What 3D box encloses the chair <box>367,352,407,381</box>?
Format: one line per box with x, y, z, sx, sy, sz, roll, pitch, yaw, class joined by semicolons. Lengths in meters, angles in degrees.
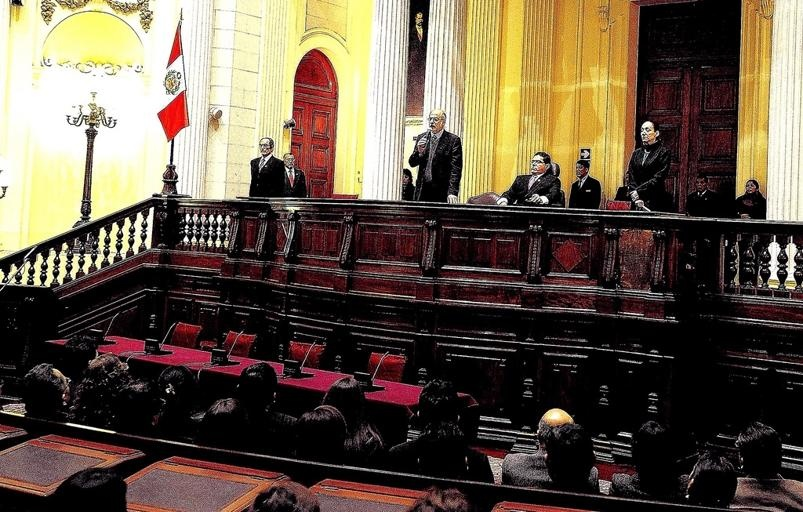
-0.224;1.287;8.051;0.444;0.470;0.331;-1;-8;35;chair

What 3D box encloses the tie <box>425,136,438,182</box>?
0.416;-1.373;9.484;0.189;0.650;0.091;1;-3;12;tie

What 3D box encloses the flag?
-3.831;-2.884;11.548;0.448;1.873;1.013;3;-3;-24;flag

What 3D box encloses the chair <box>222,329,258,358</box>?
-2.183;1.179;9.213;0.305;0.549;0.337;11;-13;14;chair

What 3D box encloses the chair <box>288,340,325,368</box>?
-1.198;1.197;8.501;0.279;0.411;0.400;11;9;-3;chair

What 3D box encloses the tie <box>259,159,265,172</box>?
-2.374;-1.533;11.526;0.058;0.228;0.009;4;-23;14;tie

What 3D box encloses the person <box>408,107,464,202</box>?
0.504;-1.354;9.505;0.632;1.294;0.975;4;-4;-37;person
